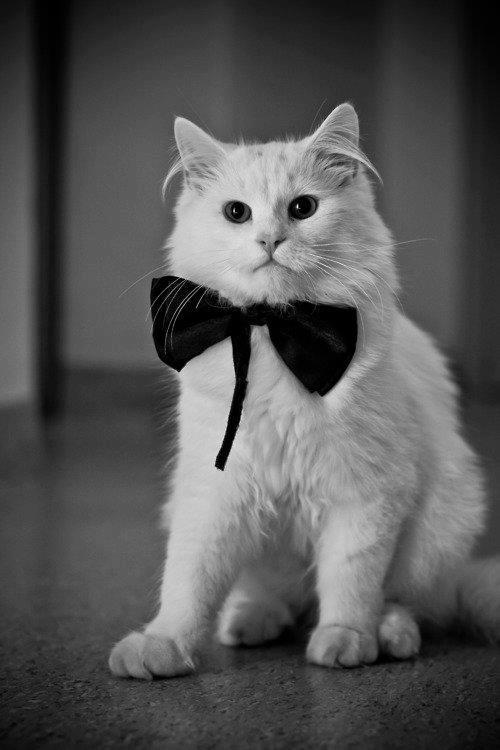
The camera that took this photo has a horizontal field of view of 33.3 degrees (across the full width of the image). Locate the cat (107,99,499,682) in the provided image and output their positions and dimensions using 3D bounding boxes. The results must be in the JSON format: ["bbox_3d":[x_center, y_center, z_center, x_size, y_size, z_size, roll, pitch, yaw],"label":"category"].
[{"bbox_3d":[-0.044,0.071,1.320,0.558,0.795,0.721,-8,-10,20],"label":"cat"}]
